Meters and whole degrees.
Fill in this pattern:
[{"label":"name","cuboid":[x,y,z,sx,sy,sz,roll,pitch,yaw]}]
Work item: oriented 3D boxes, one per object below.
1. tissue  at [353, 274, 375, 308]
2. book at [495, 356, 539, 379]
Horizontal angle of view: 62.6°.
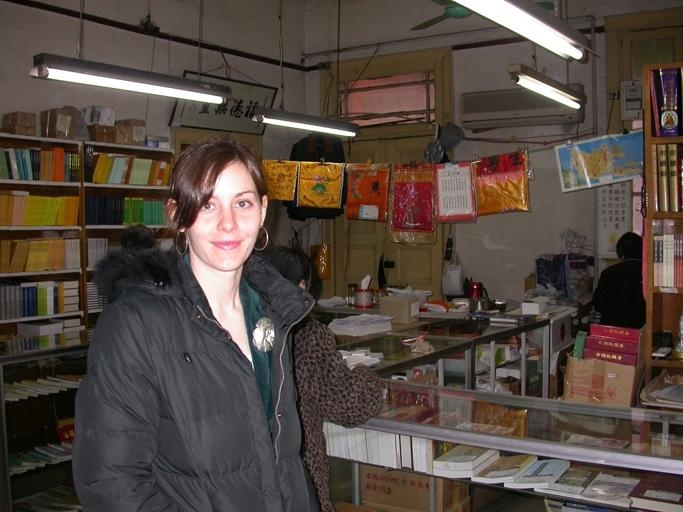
[{"label":"tissue ","cuboid":[0.202,0.316,5.037,0.165,0.294,0.162,1,0,-21]},{"label":"book","cuboid":[1.246,0.801,4.053,0.205,0.055,0.199,-5,7,28]}]
